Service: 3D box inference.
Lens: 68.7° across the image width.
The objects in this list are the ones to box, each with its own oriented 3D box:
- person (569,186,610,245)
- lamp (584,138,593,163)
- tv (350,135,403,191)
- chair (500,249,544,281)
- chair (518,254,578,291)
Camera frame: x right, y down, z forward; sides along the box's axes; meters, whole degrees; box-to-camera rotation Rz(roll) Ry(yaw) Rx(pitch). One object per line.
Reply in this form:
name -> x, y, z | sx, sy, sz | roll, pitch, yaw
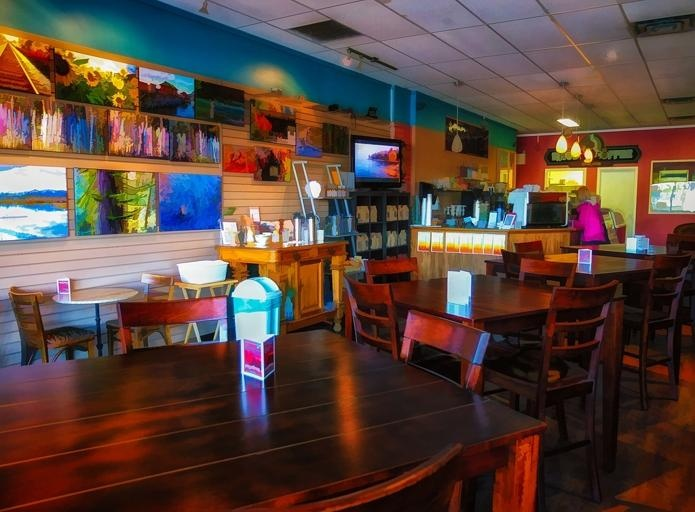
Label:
person -> 3.442, -0.420, 7.325 | 0.433, 1.127, 0.463 | -16, 17, -17
lamp -> 4.484, -1.899, 9.490 | 0.145, 0.266, 0.523 | 6, 13, 23
tv -> 0.394, -1.394, 7.600 | 0.108, 0.661, 1.003 | 4, 6, 44
chair -> 1.638, 0.046, 4.941 | 0.320, 0.427, 0.331 | -7, 10, -36
chair -> 1.639, 0.134, 4.205 | 0.299, 0.423, 0.261 | -8, 12, -42
